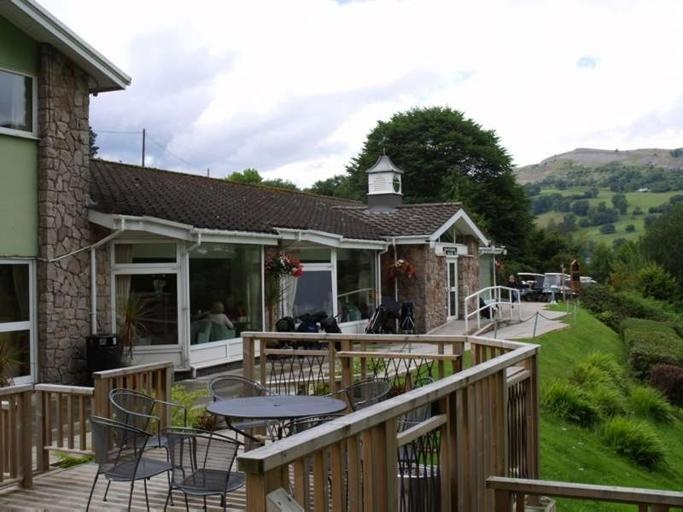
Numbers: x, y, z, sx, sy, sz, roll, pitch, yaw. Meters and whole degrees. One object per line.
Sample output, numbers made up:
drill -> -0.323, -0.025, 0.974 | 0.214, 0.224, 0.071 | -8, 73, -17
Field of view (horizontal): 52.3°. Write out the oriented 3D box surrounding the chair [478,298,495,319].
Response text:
chair -> 5.000, 1.727, 23.732 | 0.700, 0.375, 1.019 | 6, -9, 11

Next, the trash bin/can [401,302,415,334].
trash bin/can -> 1.970, 1.850, 20.720 | 0.528, 0.841, 0.822 | -1, -12, 8
